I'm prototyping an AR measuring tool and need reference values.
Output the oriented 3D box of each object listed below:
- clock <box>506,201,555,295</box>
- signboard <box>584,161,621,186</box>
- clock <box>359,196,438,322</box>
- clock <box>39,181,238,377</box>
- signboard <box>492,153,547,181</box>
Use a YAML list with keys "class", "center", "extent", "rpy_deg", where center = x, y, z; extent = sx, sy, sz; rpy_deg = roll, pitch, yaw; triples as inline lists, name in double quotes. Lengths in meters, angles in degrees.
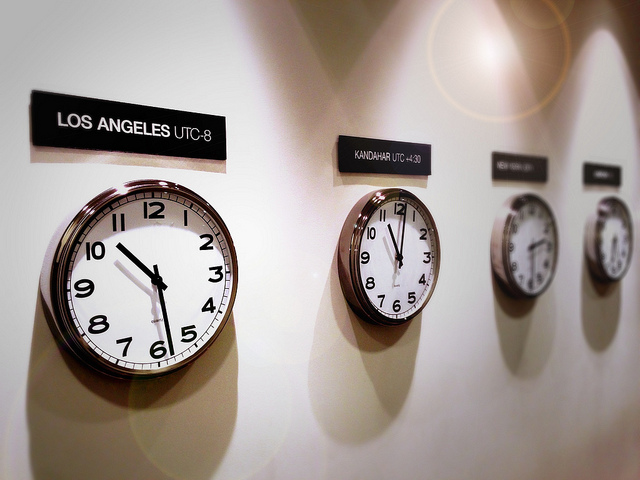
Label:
- class: "clock"
  center: [0.854, 0.034, 2.510]
  extent: [0.046, 0.471, 0.349]
  rpy_deg: [0, -2, 43]
- class: "signboard"
  center: [1.289, -0.319, 2.805]
  extent: [0.250, 0.111, 0.009]
  rpy_deg: [-3, 6, -31]
- class: "clock"
  center: [0.276, 0.072, 2.208]
  extent: [0.389, 0.523, 0.067]
  rpy_deg: [-4, -1, -38]
- class: "clock"
  center: [-0.570, 0.127, 1.885]
  extent: [0.490, 0.567, 0.139]
  rpy_deg: [-8, -3, -31]
- class: "signboard"
  center: [0.834, -0.322, 2.548]
  extent: [0.304, 0.115, 0.010]
  rpy_deg: [-3, 6, -29]
